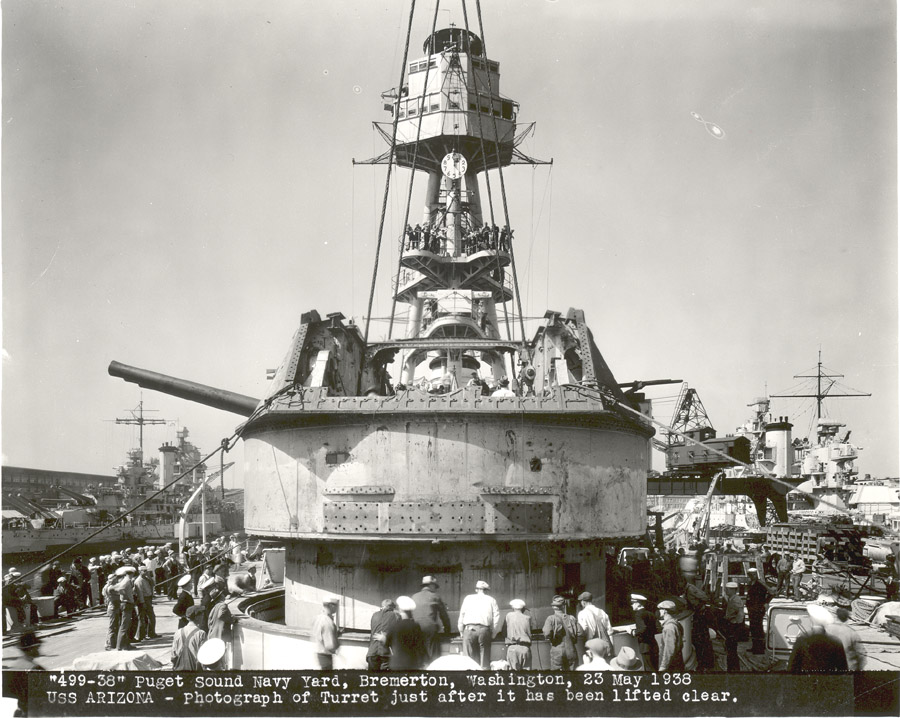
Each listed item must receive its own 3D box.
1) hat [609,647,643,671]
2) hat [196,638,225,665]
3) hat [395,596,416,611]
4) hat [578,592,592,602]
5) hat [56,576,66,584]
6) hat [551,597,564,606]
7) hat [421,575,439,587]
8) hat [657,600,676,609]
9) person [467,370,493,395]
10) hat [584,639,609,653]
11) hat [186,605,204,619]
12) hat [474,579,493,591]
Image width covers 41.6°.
[{"bbox_3d":[2.926,5.079,19.786,0.431,0.479,0.195,-30,-37,-35],"label":"hat"},{"bbox_3d":[-3.916,4.802,19.289,0.447,0.425,1.191,3,-18,-10],"label":"hat"},{"bbox_3d":[-0.723,3.980,19.261,0.275,0.224,0.277,3,-17,-7],"label":"hat"},{"bbox_3d":[2.283,4.019,19.842,0.189,0.102,0.288,3,4,24],"label":"hat"},{"bbox_3d":[-8.548,4.836,25.904,0.132,0.087,0.144,-1,-1,1],"label":"hat"},{"bbox_3d":[1.845,4.163,20.314,0.178,0.198,0.554,-1,-17,3],"label":"hat"},{"bbox_3d":[-0.354,3.887,20.717,0.283,0.131,0.345,1,-12,4],"label":"hat"},{"bbox_3d":[3.625,4.119,19.794,0.245,0.173,0.478,-2,-18,7],"label":"hat"},{"bbox_3d":[0.653,0.622,27.058,0.733,0.499,1.087,1,-8,2],"label":"person"},{"bbox_3d":[2.404,4.709,19.406,0.377,0.275,0.519,-2,-17,6],"label":"hat"},{"bbox_3d":[-4.090,4.049,18.871,0.246,0.245,0.333,4,-17,-12],"label":"hat"},{"bbox_3d":[0.524,3.854,20.113,0.232,0.172,0.346,0,-5,12],"label":"hat"}]
